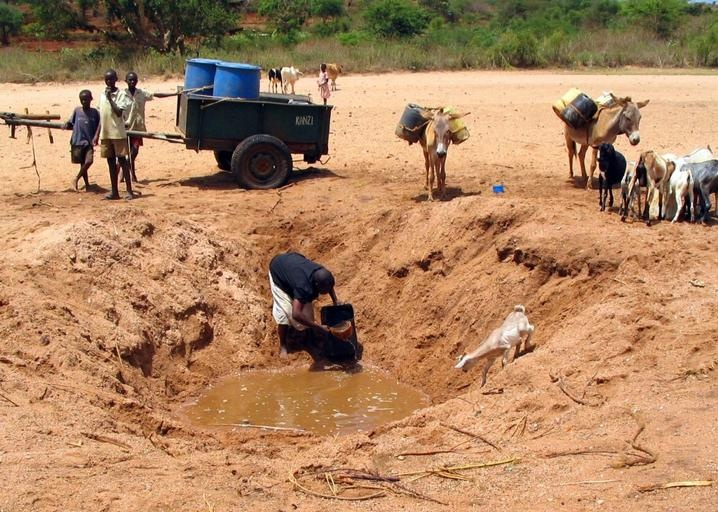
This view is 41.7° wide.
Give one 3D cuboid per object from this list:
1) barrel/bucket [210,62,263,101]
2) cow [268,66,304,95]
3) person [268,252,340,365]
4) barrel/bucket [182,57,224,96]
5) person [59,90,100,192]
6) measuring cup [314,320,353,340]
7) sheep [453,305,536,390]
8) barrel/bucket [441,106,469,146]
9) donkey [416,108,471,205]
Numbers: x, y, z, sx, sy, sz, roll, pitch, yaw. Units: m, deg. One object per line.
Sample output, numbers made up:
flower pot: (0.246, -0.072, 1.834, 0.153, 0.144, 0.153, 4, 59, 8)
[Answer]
barrel/bucket: (-2.519, -3.630, 19.539, 0.800, 0.709, 0.809, 4, 11, -1)
cow: (-2.414, -5.847, 31.362, 0.740, 1.092, 2.500, 5, 17, 12)
person: (-1.137, 0.807, 16.253, 1.142, 1.670, 1.388, 13, 20, -23)
barrel/bucket: (-3.270, -3.751, 19.883, 0.735, 0.794, 0.748, 3, 10, -1)
person: (-5.485, -2.382, 18.627, 0.755, 2.242, 0.715, -9, 25, -44)
measuring cup: (-0.377, 1.240, 16.131, 0.465, 0.238, 0.302, -4, -18, 18)
sheep: (2.162, 1.461, 14.796, 1.450, 0.804, 0.444, -41, 19, -12)
barrel/bucket: (1.942, -2.637, 19.137, 0.481, 0.738, 0.833, 1, 11, 5)
donkey: (1.644, -2.195, 19.638, 1.014, 1.879, 2.782, 0, 17, 1)
